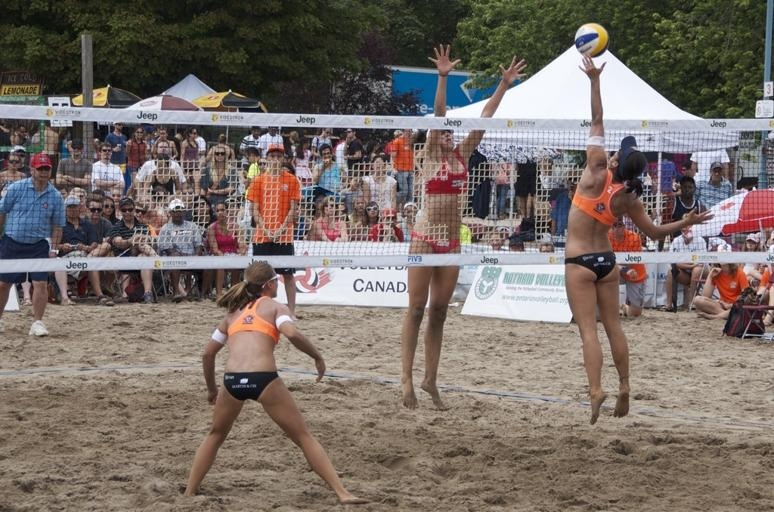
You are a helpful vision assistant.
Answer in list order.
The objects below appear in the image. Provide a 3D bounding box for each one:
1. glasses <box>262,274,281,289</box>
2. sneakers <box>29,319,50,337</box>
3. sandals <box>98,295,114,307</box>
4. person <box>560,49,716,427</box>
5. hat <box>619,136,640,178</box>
[{"bbox_3d":[-1.379,0.360,13.215,0.193,0.100,0.193,-19,12,-3],"label":"glasses"},{"bbox_3d":[-5.357,1.141,16.928,0.163,0.175,0.375,0,-3,-38],"label":"sneakers"},{"bbox_3d":[-4.888,0.805,19.035,0.347,0.152,0.130,1,3,40],"label":"sandals"},{"bbox_3d":[2.837,-0.146,13.889,1.138,4.471,0.872,3,5,14],"label":"person"},{"bbox_3d":[3.070,-1.215,13.821,0.300,0.491,0.265,-1,-5,20],"label":"hat"}]
